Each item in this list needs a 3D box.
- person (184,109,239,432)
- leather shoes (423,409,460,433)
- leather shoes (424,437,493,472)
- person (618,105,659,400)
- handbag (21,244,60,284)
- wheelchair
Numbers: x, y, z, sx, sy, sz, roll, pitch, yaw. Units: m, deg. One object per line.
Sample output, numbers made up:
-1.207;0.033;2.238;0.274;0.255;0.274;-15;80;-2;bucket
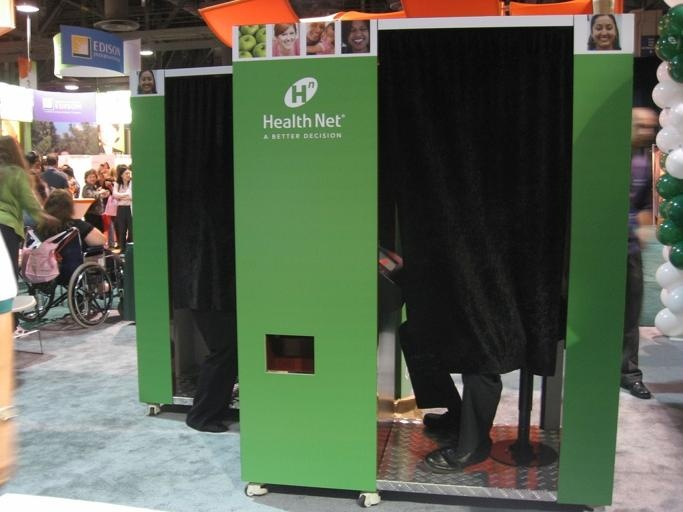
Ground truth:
-0.850;0.226;4.502;0.291;1.922;0.385;7;13;33;person
0.644;1.074;4.312;0.276;0.114;0.100;-1;5;15;leather shoes
0.680;1.150;3.875;0.342;0.140;0.165;0;12;-8;leather shoes
2.276;-0.012;5.044;0.280;2.170;0.634;4;12;23;person
-3.032;0.083;6.716;0.399;0.383;0.219;1;2;24;handbag
-2.912;0.209;7.236;0.802;1.042;1.004;5;10;17;wheelchair
